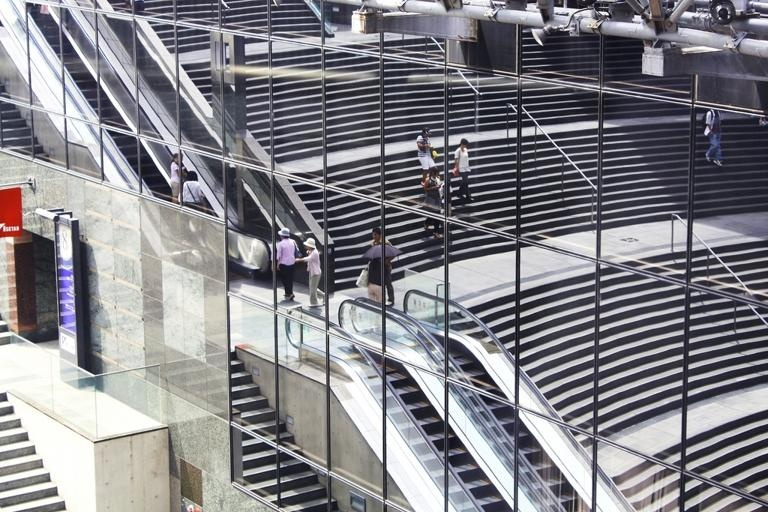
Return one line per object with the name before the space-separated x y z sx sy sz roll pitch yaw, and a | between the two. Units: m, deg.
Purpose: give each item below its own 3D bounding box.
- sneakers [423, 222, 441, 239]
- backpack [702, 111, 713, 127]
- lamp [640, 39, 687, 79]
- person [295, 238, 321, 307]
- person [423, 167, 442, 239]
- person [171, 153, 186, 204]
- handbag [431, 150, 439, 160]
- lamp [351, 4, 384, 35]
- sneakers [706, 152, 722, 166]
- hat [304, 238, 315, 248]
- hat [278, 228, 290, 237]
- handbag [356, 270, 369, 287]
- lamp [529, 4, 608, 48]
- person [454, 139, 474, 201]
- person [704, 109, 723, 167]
sneakers | 1.213 -0.746 50.369 0.215 0.632 0.268 -16 13 16
backpack | 7.634 -3.297 46.678 0.194 0.368 0.077 0 19 7
lamp | 6.474 -4.665 45.779 0.991 0.681 0.904 -7 15 -9
person | -1.937 0.426 52.824 0.316 1.839 0.809 -11 21 -22
person | 1.220 -1.426 50.201 0.277 1.828 0.724 -16 23 -34
person | -5.938 -2.255 56.264 0.254 1.401 0.635 -14 22 -29
handbag | 1.242 -2.593 49.953 0.083 0.186 0.200 12 9 -33
lamp | -0.500 -5.943 49.507 0.713 0.592 0.688 -6 10 -36
sneakers | 7.939 -2.381 47.689 0.404 0.148 0.138 29 48 34
hat | -2.022 -0.367 52.741 0.103 0.267 0.468 -18 23 -37
hat | -2.745 -0.669 53.343 0.389 0.223 0.117 8 22 29
handbag | -0.586 0.569 51.813 0.194 0.356 0.377 21 12 -4
lamp | 4.314 -5.440 46.597 1.774 0.640 0.655 -18 0 26
person | 1.924 -2.154 49.953 0.415 1.351 0.871 -2 19 3
person | 7.790 -2.922 47.032 0.397 1.390 0.576 0 19 8
